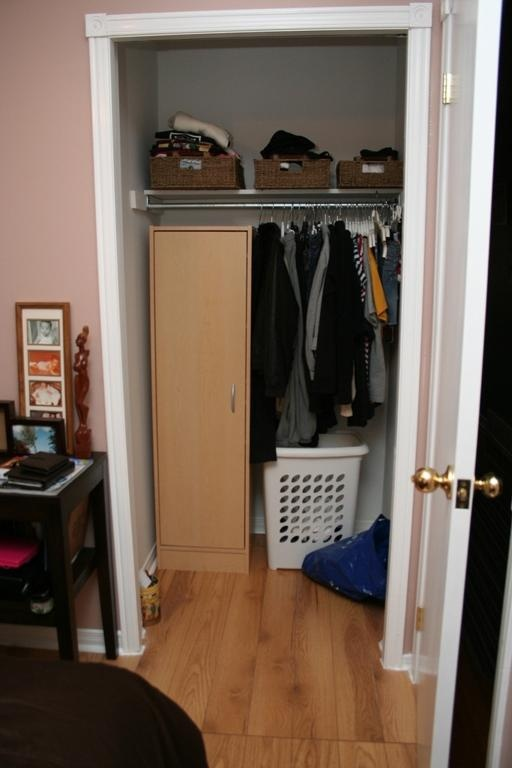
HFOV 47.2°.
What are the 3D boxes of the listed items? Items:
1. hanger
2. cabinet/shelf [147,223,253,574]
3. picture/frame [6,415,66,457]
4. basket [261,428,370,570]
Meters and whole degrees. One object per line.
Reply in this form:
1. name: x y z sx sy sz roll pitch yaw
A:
1. hanger: 0.308 -0.725 2.697 0.674 0.278 0.475 2 8 12
2. cabinet/shelf: -0.272 0.031 2.850 0.451 1.707 0.509 5 25 7
3. picture/frame: -0.720 0.172 1.932 0.180 0.122 0.054 1 7 6
4. basket: 0.267 0.541 2.900 0.467 0.676 0.422 -1 15 -2
